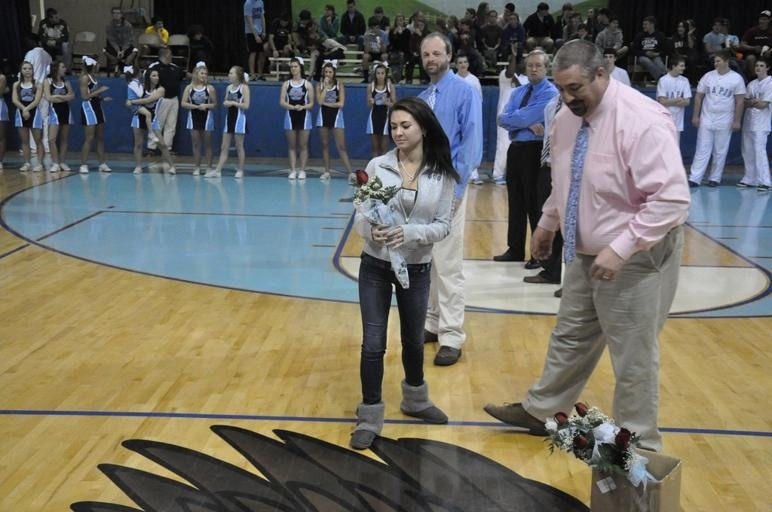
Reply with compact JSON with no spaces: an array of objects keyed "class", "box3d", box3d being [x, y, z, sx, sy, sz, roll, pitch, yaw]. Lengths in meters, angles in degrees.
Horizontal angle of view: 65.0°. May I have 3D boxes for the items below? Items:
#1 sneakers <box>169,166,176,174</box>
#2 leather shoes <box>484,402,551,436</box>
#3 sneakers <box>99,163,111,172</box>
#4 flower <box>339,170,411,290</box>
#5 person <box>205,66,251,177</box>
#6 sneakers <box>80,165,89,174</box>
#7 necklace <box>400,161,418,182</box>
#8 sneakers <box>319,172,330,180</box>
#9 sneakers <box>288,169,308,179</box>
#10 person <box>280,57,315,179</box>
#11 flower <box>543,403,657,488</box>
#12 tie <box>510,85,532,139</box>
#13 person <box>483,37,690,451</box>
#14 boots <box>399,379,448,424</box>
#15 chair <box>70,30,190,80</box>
[{"class":"sneakers","box3d":[-3.882,-1.549,10.984,0.132,0.130,0.470,-4,14,-20]},{"class":"leather shoes","box3d":[0.735,0.908,3.418,0.386,0.167,0.126,26,-29,-15]},{"class":"sneakers","box3d":[-5.115,-1.606,11.028,0.148,0.123,0.283,-9,12,-36]},{"class":"flower","box3d":[-0.023,-0.131,3.177,0.292,0.619,0.210,0,13,-1]},{"class":"person","box3d":[-2.784,-2.325,10.585,0.741,1.886,0.812,-3,14,-16]},{"class":"sneakers","box3d":[-5.312,-1.505,10.689,0.160,0.170,0.396,-4,6,-24]},{"class":"necklace","box3d":[0.123,-0.455,3.271,0.083,0.116,0.039,-2,-7,-6]},{"class":"sneakers","box3d":[-1.089,-1.418,10.813,0.094,0.096,0.234,3,18,-2]},{"class":"sneakers","box3d":[-1.578,-1.453,10.819,0.274,0.147,0.405,-1,6,-4]},{"class":"person","box3d":[-1.548,-2.369,10.568,0.526,2.043,0.706,-1,14,-7]},{"class":"flower","box3d":[0.937,0.795,2.639,0.353,0.152,0.358,12,23,37]},{"class":"tie","box3d":[1.267,-1.326,5.679,0.069,0.610,0.084,35,-19,-27]},{"class":"person","box3d":[1.046,0.018,3.023,0.793,2.081,0.460,7,15,25]},{"class":"boots","box3d":[0.253,0.832,3.575,0.375,0.252,0.137,7,13,21]},{"class":"chair","box3d":[-5.741,-4.707,13.805,2.762,0.853,1.416,12,17,39]}]
